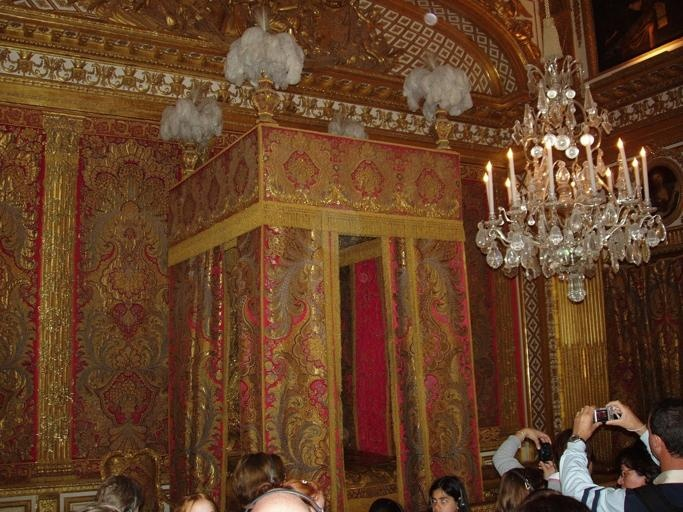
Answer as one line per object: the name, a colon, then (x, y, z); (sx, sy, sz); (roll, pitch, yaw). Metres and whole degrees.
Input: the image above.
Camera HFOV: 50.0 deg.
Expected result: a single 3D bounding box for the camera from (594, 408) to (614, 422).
camera: (1.716, 1.049, 4.788); (0.136, 0.121, 0.088); (-1, 2, -14)
